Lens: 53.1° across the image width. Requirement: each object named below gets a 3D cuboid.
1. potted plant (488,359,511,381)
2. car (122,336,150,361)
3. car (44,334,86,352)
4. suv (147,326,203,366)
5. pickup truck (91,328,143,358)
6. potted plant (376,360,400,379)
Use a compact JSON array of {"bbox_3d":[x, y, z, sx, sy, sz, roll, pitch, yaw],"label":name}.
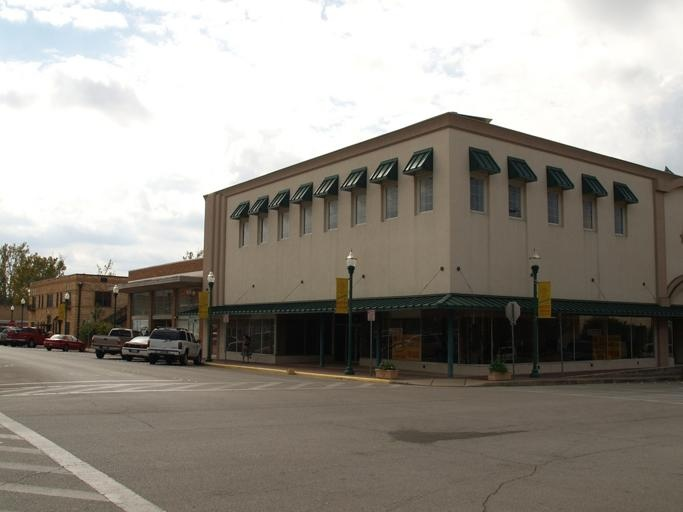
[{"bbox_3d":[6.665,4.930,29.163,0.769,0.869,0.831,1,-12,-6],"label":"potted plant"},{"bbox_3d":[-12.203,5.608,41.006,1.150,1.033,2.736,0,-3,5],"label":"car"},{"bbox_3d":[-23.097,7.597,57.293,1.580,1.129,2.769,-3,-5,41],"label":"car"},{"bbox_3d":[-9.505,5.285,40.087,1.679,1.668,3.268,-2,-4,17],"label":"suv"},{"bbox_3d":[-14.952,5.978,45.963,1.703,1.545,3.476,-1,-3,14],"label":"pickup truck"},{"bbox_3d":[2.049,5.152,30.262,0.628,0.865,1.113,8,-12,-34],"label":"potted plant"}]
